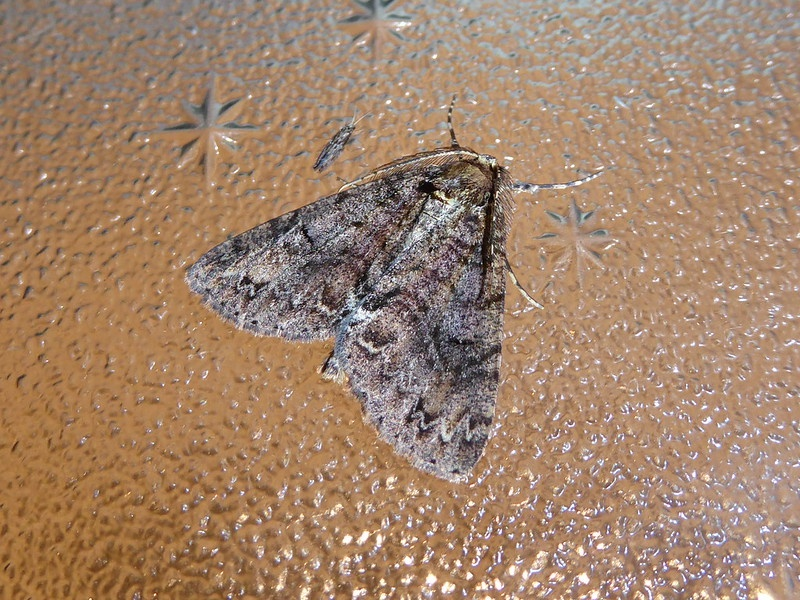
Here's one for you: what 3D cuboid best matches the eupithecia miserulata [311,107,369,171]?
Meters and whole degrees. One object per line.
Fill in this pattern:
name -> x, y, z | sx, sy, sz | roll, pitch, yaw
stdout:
eupithecia miserulata -> -0.084, -0.220, 1.237 | 0.032, 0.037, 0.095 | 40, 72, 9

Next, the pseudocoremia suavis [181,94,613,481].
pseudocoremia suavis -> 0.002, 0.004, 1.118 | 0.474, 0.110, 0.462 | 3, 77, 4
